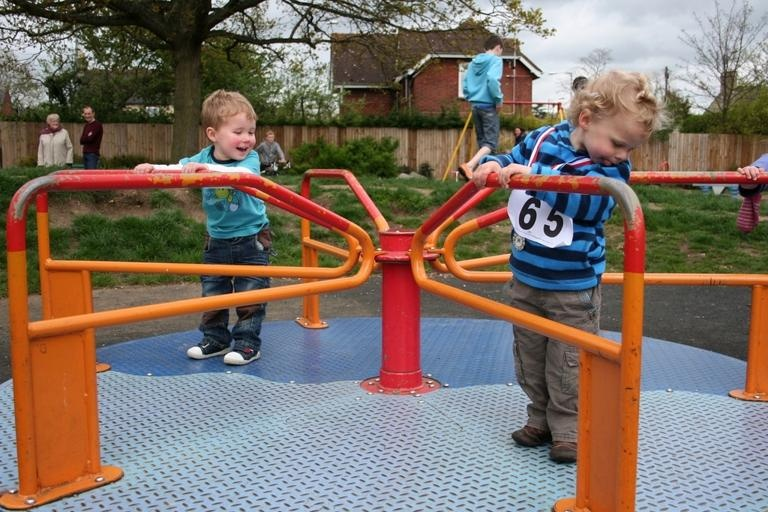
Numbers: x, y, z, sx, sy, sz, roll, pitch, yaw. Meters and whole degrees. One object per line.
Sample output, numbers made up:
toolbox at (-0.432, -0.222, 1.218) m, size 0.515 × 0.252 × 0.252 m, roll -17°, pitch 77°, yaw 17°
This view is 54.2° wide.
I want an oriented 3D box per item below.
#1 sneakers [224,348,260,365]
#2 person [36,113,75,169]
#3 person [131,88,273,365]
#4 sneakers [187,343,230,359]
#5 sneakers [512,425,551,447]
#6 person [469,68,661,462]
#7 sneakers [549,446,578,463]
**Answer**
sneakers at (-0.884, 0.632, 4.674) m, size 0.084 × 0.080 × 0.212 m, roll -4°, pitch -9°, yaw 40°
person at (-5.674, -2.013, 12.899) m, size 0.509 × 0.901 × 1.198 m, roll -4°, pitch 10°, yaw -24°
person at (-0.998, -0.166, 4.564) m, size 0.599 × 1.683 × 1.160 m, roll -2°, pitch 9°, yaw -8°
sneakers at (-1.125, 0.611, 4.815) m, size 0.259 × 0.097 × 0.102 m, roll 5°, pitch -1°, yaw -35°
sneakers at (0.717, 0.898, 3.681) m, size 0.196 × 0.080 × 0.083 m, roll 6°, pitch 3°, yaw -5°
person at (0.845, 0.067, 3.527) m, size 0.782 × 1.830 × 0.516 m, roll 3°, pitch 10°, yaw 19°
sneakers at (0.847, 0.946, 3.548) m, size 0.119 × 0.065 × 0.049 m, roll 4°, pitch 0°, yaw 18°
